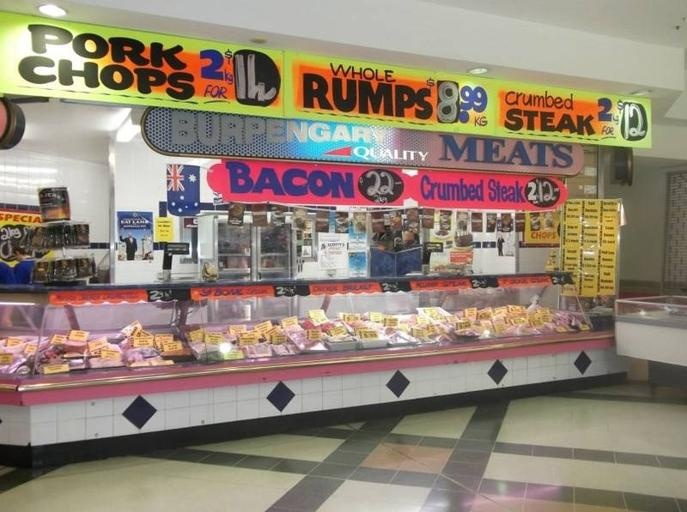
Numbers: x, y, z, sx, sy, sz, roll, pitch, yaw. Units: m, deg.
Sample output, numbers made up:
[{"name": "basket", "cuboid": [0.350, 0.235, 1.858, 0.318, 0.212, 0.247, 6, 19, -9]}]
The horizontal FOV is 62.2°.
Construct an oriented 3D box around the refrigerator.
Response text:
[{"name": "refrigerator", "cuboid": [-1.142, 0.093, 6.706, 1.285, 1.844, 0.608, -1, 3, -19]}]
